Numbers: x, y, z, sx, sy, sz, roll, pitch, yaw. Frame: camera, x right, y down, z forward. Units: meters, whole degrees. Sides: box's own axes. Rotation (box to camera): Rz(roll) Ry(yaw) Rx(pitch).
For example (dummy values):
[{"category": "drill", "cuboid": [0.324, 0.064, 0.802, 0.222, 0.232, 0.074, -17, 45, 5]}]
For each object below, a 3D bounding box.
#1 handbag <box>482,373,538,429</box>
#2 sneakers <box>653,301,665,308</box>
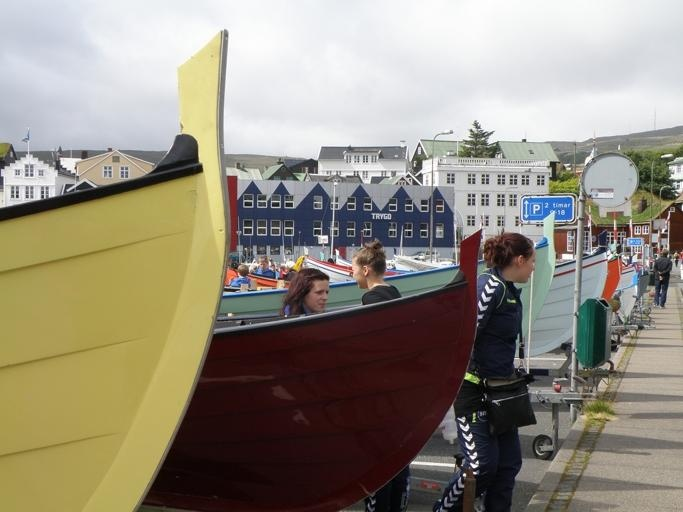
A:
[{"category": "handbag", "cuboid": [1.306, 1.133, 7.709, 0.403, 0.348, 0.229, 3, 2, -4]}, {"category": "sneakers", "cuboid": [8.697, 1.362, 27.287, 0.115, 0.164, 0.381, -7, 4, -23]}]
